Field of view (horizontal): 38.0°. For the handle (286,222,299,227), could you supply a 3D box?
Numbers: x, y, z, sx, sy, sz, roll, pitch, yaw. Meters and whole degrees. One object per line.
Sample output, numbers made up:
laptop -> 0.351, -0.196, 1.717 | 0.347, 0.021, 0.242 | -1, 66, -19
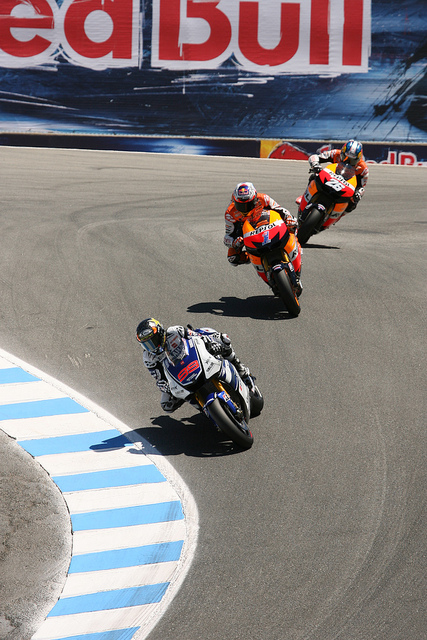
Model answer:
handle -> 1.026, -1.267, 8.255 | 0.118, 0.025, 0.115 | 0, -3, -31

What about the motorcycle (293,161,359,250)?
motorcycle -> 2.003, -2.022, 10.961 | 1.085, 1.375, 1.517 | -3, 18, 14

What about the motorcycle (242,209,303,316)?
motorcycle -> 0.848, -0.751, 8.100 | 0.711, 1.333, 0.934 | -15, 19, -21

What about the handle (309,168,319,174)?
handle -> 1.750, -2.641, 11.028 | 0.121, 0.070, 0.206 | 11, -3, -1

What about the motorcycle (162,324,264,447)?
motorcycle -> -0.047, 0.478, 5.349 | 0.484, 0.749, 1.327 | -49, 3, 8

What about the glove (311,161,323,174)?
glove -> 1.813, -2.715, 10.992 | 0.181, 0.106, 0.223 | -14, 36, 10
